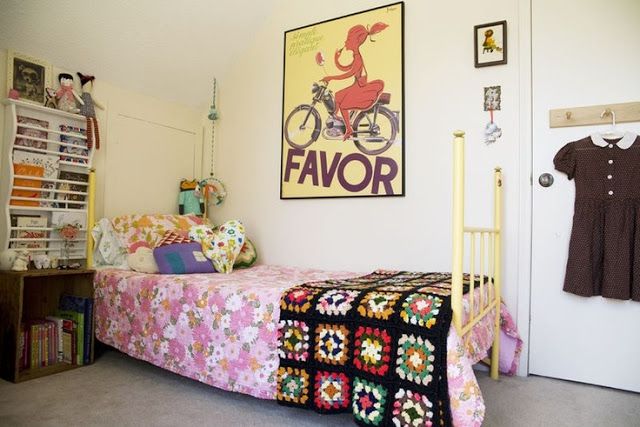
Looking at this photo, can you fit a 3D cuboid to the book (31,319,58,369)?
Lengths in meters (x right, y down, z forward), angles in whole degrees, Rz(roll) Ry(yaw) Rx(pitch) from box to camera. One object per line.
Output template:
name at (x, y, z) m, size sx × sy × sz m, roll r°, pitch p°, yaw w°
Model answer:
book at (-2.044, 0.998, 3.695) m, size 0.198 × 0.279 × 0.276 m, roll 1°, pitch 1°, yaw 33°

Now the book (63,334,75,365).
book at (-1.980, 1.048, 3.752) m, size 0.046 × 0.191 × 0.191 m, roll 1°, pitch 21°, yaw -33°

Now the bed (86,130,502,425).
bed at (-0.167, 0.453, 3.788) m, size 2.892 × 1.741 × 1.717 m, roll 3°, pitch 1°, yaw 34°

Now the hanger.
hanger at (2.141, -0.625, 3.548) m, size 0.352 × 0.374 × 0.038 m, roll 2°, pitch 2°, yaw 33°
